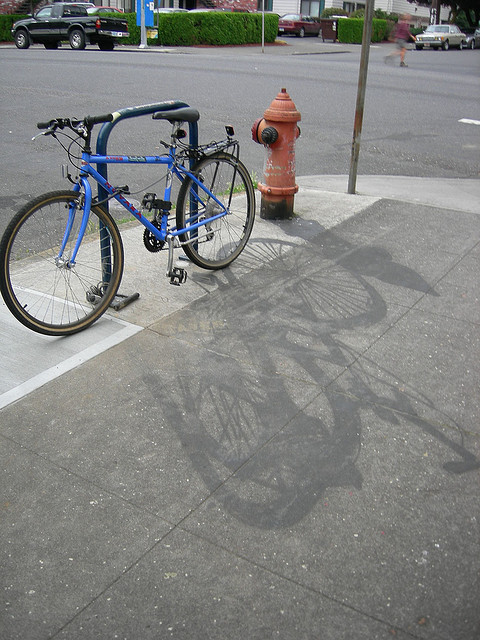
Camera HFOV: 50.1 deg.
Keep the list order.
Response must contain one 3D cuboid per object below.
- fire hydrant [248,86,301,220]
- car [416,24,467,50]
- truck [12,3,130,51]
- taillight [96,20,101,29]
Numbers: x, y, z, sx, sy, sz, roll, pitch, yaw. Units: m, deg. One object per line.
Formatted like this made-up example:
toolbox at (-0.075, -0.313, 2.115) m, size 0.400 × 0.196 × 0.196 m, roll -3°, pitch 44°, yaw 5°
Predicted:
fire hydrant at (0.339, -1.548, 4.866) m, size 0.442 × 1.180 × 0.326 m, roll 1°, pitch 20°, yaw 2°
car at (16.216, -23.107, 41.981) m, size 5.328 × 1.816 × 1.426 m, roll -21°, pitch 30°, yaw -38°
truck at (-8.669, -14.707, 25.860) m, size 5.947 × 2.045 × 1.226 m, roll 8°, pitch 23°, yaw 18°
taillight at (-6.886, -14.394, 25.012) m, size 0.208 × 0.475 × 0.240 m, roll 6°, pitch -1°, yaw -26°
